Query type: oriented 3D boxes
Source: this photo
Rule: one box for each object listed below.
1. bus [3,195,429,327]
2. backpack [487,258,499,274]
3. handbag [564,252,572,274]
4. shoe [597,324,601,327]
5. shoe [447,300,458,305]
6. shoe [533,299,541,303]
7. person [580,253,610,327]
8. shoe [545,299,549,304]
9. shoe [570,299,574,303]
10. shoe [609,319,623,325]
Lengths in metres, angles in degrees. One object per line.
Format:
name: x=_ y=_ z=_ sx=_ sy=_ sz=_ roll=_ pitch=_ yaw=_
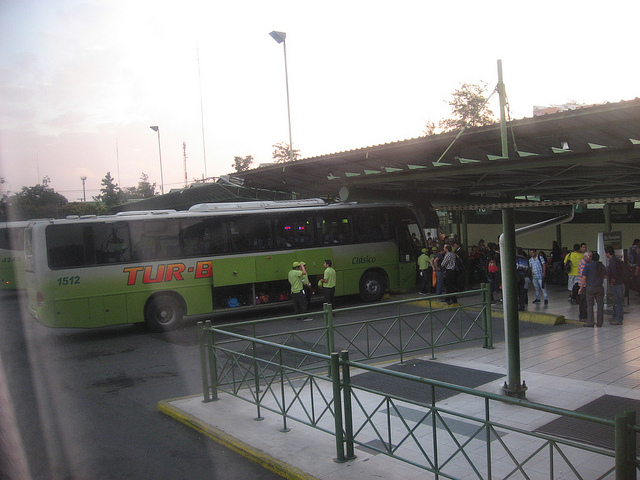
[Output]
bus: x=-2.749 y=0.776 z=17.860 sx=13.974 sy=3.941 sz=3.622 roll=-5 pitch=5 yaw=-27
backpack: x=6.033 y=0.874 z=18.885 sx=0.400 sy=0.523 sz=0.207 roll=1 pitch=-2 yaw=37
handbag: x=8.290 y=0.819 z=18.099 sx=0.182 sy=0.472 sz=0.286 roll=7 pitch=-4 yaw=1
shoe: x=7.702 y=2.334 z=15.011 sx=0.086 sy=0.087 sz=0.021 roll=-3 pitch=-8 yaw=6
shoe: x=4.513 y=2.114 z=18.573 sx=0.328 sy=0.124 sz=0.353 roll=-6 pitch=3 yaw=-4
shoe: x=7.543 y=2.078 z=18.912 sx=0.243 sy=0.120 sz=0.391 roll=-4 pitch=3 yaw=21
person: x=7.471 y=1.366 z=14.831 sx=0.606 sy=2.076 sz=0.745 roll=-5 pitch=3 yaw=18
shoe: x=7.762 y=2.107 z=18.627 sx=0.124 sy=0.199 sz=0.120 roll=5 pitch=20 yaw=11
shoe: x=8.538 y=2.044 z=18.390 sx=0.120 sy=0.106 sz=0.125 roll=-4 pitch=3 yaw=28
shoe: x=8.277 y=2.267 z=15.205 sx=0.327 sy=0.143 sz=0.114 roll=7 pitch=7 yaw=38
